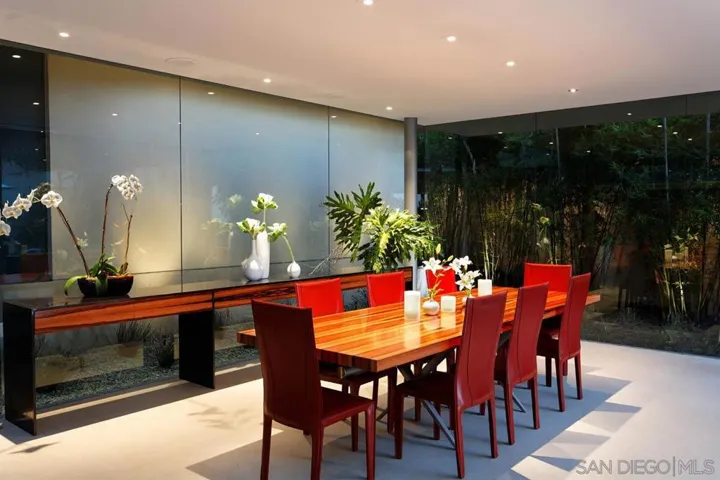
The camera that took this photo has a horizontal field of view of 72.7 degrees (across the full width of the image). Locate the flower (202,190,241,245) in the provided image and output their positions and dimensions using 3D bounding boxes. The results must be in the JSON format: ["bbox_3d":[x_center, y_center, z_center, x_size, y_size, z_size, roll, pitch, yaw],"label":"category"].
[{"bbox_3d":[-1.776,-0.319,6.379,0.505,0.618,0.298,14,10,-45],"label":"flower"}]

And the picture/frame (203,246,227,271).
[{"bbox_3d":[-1.875,0.235,6.291,0.100,0.290,0.313,-1,-1,40],"label":"picture/frame"}]

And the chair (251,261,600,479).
[{"bbox_3d":[0.525,1.205,4.458,2.804,1.113,1.244,-5,9,-39],"label":"chair"}]

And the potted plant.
[{"bbox_3d":[0.251,-0.193,7.555,1.573,1.409,1.383,-1,7,-11],"label":"potted plant"}]
